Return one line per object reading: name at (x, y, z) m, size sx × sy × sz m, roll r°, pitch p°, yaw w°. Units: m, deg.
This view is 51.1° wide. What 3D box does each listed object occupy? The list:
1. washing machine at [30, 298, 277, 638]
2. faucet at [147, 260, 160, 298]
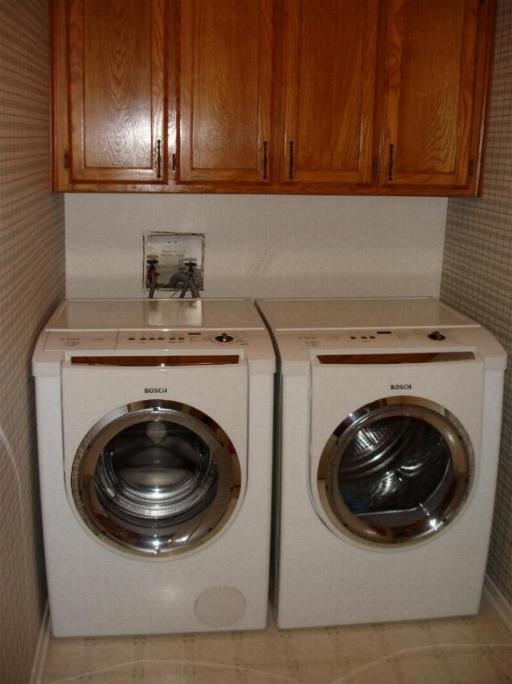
washing machine at (-0.295, 0.421, 1.613) m, size 0.642 × 0.935 × 0.348 m, roll 0°, pitch 12°, yaw -10°
faucet at (-0.393, -0.241, 2.022) m, size 0.046 × 0.148 × 0.126 m, roll -1°, pitch 13°, yaw -12°
